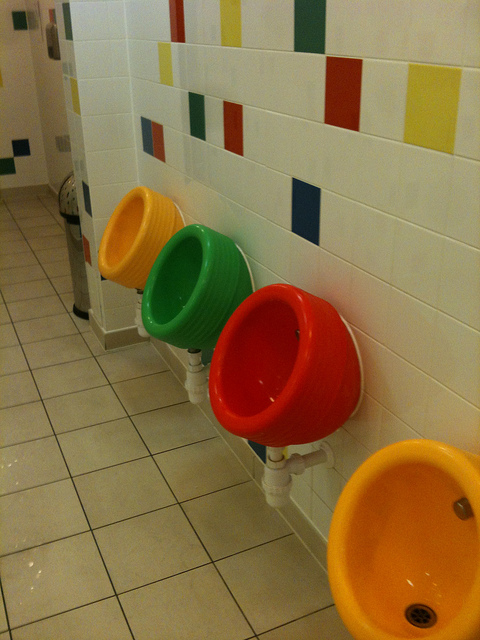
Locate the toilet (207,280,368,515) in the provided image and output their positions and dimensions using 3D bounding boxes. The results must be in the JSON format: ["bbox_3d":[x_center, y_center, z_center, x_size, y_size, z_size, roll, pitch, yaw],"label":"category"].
[{"bbox_3d":[0.079,0.211,1.156,0.267,0.578,0.371,-7,15,-18],"label":"toilet"}]

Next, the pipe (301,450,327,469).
[{"bbox_3d":[0.203,0.382,1.311,0.058,0.030,0.027,-9,25,-13],"label":"pipe"}]

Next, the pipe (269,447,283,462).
[{"bbox_3d":[0.091,0.343,1.234,0.036,0.050,0.018,-1,25,-1],"label":"pipe"}]

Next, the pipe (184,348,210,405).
[{"bbox_3d":[-0.153,0.200,1.813,0.112,0.250,0.078,-20,39,-26],"label":"pipe"}]

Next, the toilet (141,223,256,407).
[{"bbox_3d":[-0.179,-0.001,1.627,0.296,0.611,0.371,-10,21,-36],"label":"toilet"}]

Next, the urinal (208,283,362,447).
[{"bbox_3d":[0.082,0.102,1.124,0.294,0.367,0.352,-14,31,-25],"label":"urinal"}]

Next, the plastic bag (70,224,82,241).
[{"bbox_3d":[-0.954,-0.518,2.827,0.068,0.097,0.084,0,15,-1],"label":"plastic bag"}]

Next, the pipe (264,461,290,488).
[{"bbox_3d":[0.095,0.412,1.262,0.056,0.052,0.068,-2,53,0],"label":"pipe"}]
